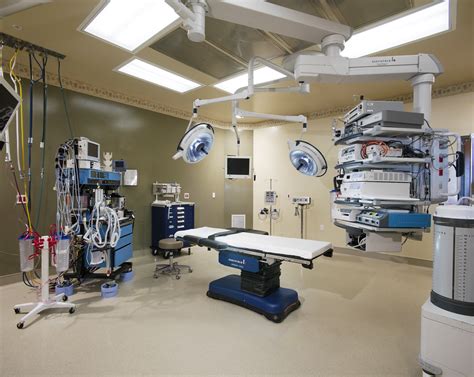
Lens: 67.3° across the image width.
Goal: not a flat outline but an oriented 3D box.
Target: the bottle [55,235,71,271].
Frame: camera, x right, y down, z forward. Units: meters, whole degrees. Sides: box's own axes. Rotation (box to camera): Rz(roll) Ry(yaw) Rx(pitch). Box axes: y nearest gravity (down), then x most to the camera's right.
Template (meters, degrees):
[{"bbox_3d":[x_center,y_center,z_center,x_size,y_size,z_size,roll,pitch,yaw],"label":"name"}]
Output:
[{"bbox_3d":[-2.106,0.811,4.312,0.178,0.506,0.228,-5,12,-25],"label":"bottle"}]

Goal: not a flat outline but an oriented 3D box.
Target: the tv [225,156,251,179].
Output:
[{"bbox_3d":[-0.004,-0.319,6.232,0.549,0.570,0.337,0,-1,-4],"label":"tv"}]

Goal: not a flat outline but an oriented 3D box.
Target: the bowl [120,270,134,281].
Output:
[{"bbox_3d":[-1.604,1.264,5.180,0.137,0.113,0.144,-1,0,0],"label":"bowl"}]

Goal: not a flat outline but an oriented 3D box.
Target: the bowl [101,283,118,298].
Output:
[{"bbox_3d":[-1.652,1.322,4.618,0.164,0.158,0.169,1,-3,0],"label":"bowl"}]

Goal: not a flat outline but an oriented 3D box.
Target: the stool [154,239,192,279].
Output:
[{"bbox_3d":[-1.027,1.072,5.552,0.576,0.544,0.578,0,4,9],"label":"stool"}]

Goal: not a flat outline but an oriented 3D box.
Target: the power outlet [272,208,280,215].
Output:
[{"bbox_3d":[0.835,0.491,7.549,0.156,0.126,0.049,6,12,23],"label":"power outlet"}]

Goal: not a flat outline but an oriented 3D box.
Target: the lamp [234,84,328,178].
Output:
[{"bbox_3d":[0.634,-0.785,4.721,1.292,0.553,1.530,-5,-35,3],"label":"lamp"}]

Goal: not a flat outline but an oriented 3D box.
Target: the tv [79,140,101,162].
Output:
[{"bbox_3d":[-1.970,-0.497,4.746,0.159,0.402,0.407,0,-3,5],"label":"tv"}]

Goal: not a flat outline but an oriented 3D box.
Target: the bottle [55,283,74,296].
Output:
[{"bbox_3d":[-2.210,1.303,4.569,0.130,0.143,0.191,3,2,40],"label":"bottle"}]
